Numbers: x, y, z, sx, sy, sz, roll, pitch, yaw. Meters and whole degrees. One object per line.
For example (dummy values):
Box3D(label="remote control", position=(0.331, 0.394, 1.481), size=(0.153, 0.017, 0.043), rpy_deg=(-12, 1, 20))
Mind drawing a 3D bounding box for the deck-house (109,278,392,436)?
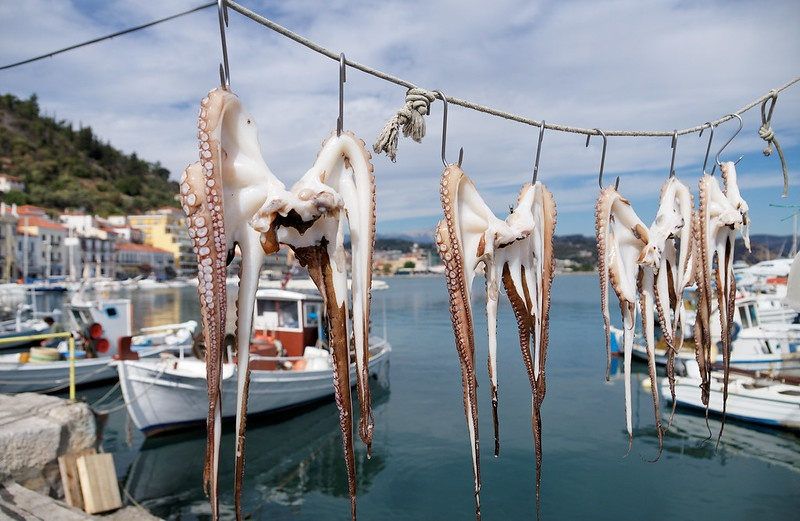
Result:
Box3D(label="deck-house", position=(-4.776, 3.495, 36.113), size=(6.970, 5.922, 15.890), rpy_deg=(2, 4, 39))

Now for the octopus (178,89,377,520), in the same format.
Box3D(label="octopus", position=(-3.112, 1.130, 21.492), size=(4.535, 11.076, 1.216), rpy_deg=(-1, -3, -16))
